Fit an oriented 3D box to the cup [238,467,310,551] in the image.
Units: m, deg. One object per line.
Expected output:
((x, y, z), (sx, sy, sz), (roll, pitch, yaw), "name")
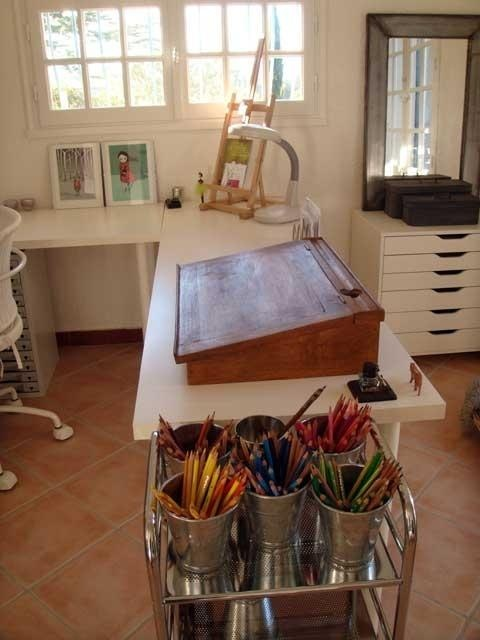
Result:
((0.045, 0.263, 0.650), (0.075, 0.072, 0.088), (-11, -4, 1), "cup")

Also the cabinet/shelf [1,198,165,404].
((-0.919, -0.145, 2.692), (0.840, 0.942, 0.667), (-3, 36, -7), "cabinet/shelf")

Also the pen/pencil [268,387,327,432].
((0.102, 0.159, 0.827), (0.013, 0.102, 0.011), (36, 17, 11), "pen/pencil")

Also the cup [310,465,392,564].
((0.143, 0.265, 0.624), (0.087, 0.104, 0.092), (0, 21, 0), "cup")

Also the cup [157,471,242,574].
((-0.051, 0.271, 0.596), (0.070, 0.074, 0.077), (3, 2, 4), "cup")
